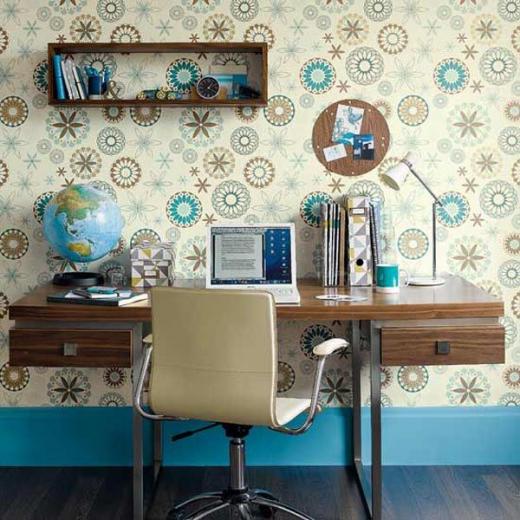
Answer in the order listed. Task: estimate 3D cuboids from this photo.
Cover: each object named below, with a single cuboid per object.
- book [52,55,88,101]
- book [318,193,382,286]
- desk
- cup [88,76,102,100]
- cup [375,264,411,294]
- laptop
[{"bbox_3d":[-0.813,-0.767,2.651,0.055,0.197,0.144,-4,4,-26],"label":"book"},{"bbox_3d":[0.336,-0.071,2.837,0.334,0.482,0.341,-2,1,-2],"label":"book"},{"bbox_3d":[0.074,0.723,2.601,1.973,0.899,0.893,0,-1,2],"label":"desk"},{"bbox_3d":[-0.709,-0.746,2.668,0.064,0.108,0.080,-5,8,-19],"label":"cup"},{"bbox_3d":[0.553,0.075,2.501,0.147,0.127,0.093,1,-2,-9],"label":"cup"},{"bbox_3d":[-0.027,0.007,2.511,0.379,0.308,0.277,0,3,-1],"label":"laptop"}]
